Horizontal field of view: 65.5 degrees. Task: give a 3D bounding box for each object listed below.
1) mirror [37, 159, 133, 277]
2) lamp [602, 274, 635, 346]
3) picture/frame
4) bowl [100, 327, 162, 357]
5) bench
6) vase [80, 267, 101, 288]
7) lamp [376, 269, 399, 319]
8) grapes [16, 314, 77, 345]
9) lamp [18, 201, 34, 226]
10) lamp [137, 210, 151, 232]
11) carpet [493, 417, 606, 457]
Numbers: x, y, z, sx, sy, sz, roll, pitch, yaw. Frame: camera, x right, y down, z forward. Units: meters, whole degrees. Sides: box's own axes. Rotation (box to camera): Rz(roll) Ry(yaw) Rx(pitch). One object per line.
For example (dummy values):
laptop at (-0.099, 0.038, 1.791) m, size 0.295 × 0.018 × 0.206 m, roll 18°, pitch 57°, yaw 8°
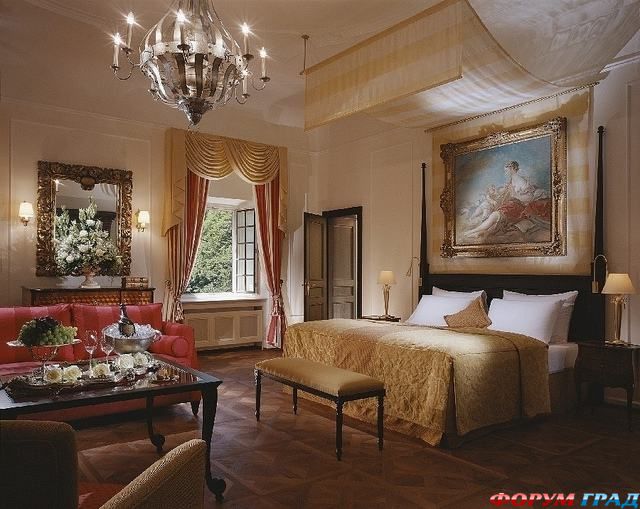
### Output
mirror at (-3.161, -0.476, 6.589) m, size 1.532 × 1.948 × 0.081 m, roll 5°, pitch -9°, yaw -39°
lamp at (2.924, 0.529, 4.902) m, size 0.259 × 0.691 × 0.553 m, roll 1°, pitch 2°, yaw 30°
picture/frame at (2.281, -0.805, 6.033) m, size 0.134 × 1.757 × 1.730 m, roll 2°, pitch -3°, yaw -40°
bowl at (-1.395, 0.628, 3.697) m, size 0.266 × 0.107 × 0.270 m, roll 1°, pitch -6°, yaw 0°
bench at (0.005, 1.289, 4.428) m, size 0.592 × 0.588 × 1.262 m, roll -1°, pitch 2°, yaw -40°
vase at (-2.970, 0.289, 6.415) m, size 0.269 × 0.344 × 0.259 m, roll 0°, pitch 0°, yaw -29°
lamp at (0.986, 0.578, 7.217) m, size 0.225 × 0.689 × 0.813 m, roll 1°, pitch 1°, yaw 9°
grapes at (-1.893, 0.538, 3.466) m, size 0.353 × 0.202 × 0.190 m, roll 0°, pitch 2°, yaw -32°
lamp at (-3.687, -0.521, 6.274) m, size 0.167 × 0.304 × 0.242 m, roll -1°, pitch 2°, yaw -31°
lamp at (-2.543, -0.486, 7.167) m, size 0.197 × 0.309 × 0.169 m, roll -1°, pitch 2°, yaw -25°
carpet at (2.016, 1.567, 4.301) m, size 1.010 × 0.019 × 0.575 m, roll 0°, pitch 1°, yaw -33°
